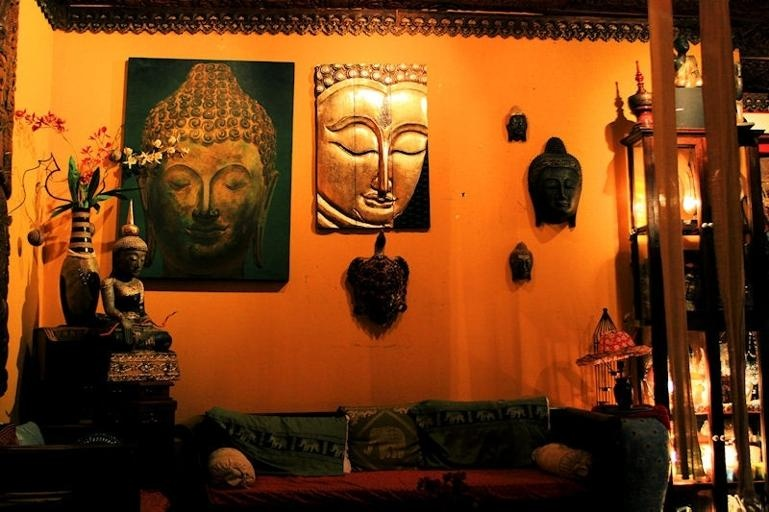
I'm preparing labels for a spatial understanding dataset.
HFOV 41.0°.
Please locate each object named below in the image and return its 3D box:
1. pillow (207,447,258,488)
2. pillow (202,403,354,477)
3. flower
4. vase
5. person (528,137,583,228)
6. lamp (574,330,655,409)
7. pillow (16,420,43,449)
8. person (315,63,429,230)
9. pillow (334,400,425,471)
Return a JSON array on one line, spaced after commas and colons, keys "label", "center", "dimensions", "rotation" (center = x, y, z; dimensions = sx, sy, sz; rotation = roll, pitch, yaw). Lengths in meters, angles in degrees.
[{"label": "pillow", "center": [-1.122, 1.525, 7.589], "dimensions": [0.289, 0.222, 0.233], "rotation": [5, 27, 8]}, {"label": "pillow", "center": [-0.771, 1.401, 7.858], "dimensions": [0.799, 0.577, 0.267], "rotation": [2, -41, -11]}, {"label": "flower", "center": [-2.318, -0.748, 8.373], "dimensions": [1.119, 0.545, 0.843], "rotation": [4, 12, -44]}, {"label": "vase", "center": [-2.365, 0.072, 8.025], "dimensions": [0.304, 0.914, 0.306], "rotation": [1, -4, -18]}, {"label": "person", "center": [1.410, -0.620, 8.553], "dimensions": [0.440, 0.753, 0.183], "rotation": [-1, -4, 7]}, {"label": "lamp", "center": [1.834, 0.889, 8.241], "dimensions": [0.583, 0.596, 0.528], "rotation": [-1, -3, 13]}, {"label": "pillow", "center": [-2.466, 1.211, 7.138], "dimensions": [0.171, 0.142, 0.280], "rotation": [-2, 1, -31]}, {"label": "person", "center": [-0.127, -0.848, 8.522], "dimensions": [1.293, 1.668, 0.318], "rotation": [1, -7, -9]}, {"label": "pillow", "center": [-0.016, 1.410, 8.058], "dimensions": [0.485, 0.474, 0.142], "rotation": [0, -21, -3]}]
